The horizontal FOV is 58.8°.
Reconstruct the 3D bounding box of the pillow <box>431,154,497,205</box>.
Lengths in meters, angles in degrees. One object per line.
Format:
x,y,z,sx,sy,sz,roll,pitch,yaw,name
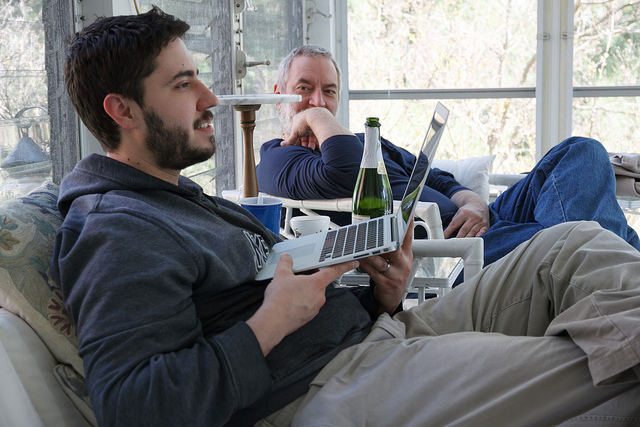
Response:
0.815,-0.184,3.184,0.359,0.227,0.112,11,-13,42,pillow

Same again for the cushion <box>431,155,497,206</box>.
0.921,-0.244,3.529,0.131,0.253,0.410,-21,15,-35,cushion

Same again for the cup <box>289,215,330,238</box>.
-0.033,0.040,1.851,0.093,0.066,0.075,-2,5,11,cup

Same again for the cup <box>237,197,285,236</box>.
-0.179,0.002,1.834,0.125,0.091,0.126,0,8,0,cup

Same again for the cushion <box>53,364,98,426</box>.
-0.570,0.423,1.352,0.039,0.160,0.096,-25,19,11,cushion

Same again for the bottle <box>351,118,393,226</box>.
0.163,-0.089,1.767,0.130,0.424,0.126,-2,30,1,bottle

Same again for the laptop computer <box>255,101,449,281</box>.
0.074,-0.072,1.549,0.529,0.339,0.487,-11,8,12,laptop computer

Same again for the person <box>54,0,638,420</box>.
-0.093,0.006,1.687,1.632,1.075,0.854,-8,9,-1,person
